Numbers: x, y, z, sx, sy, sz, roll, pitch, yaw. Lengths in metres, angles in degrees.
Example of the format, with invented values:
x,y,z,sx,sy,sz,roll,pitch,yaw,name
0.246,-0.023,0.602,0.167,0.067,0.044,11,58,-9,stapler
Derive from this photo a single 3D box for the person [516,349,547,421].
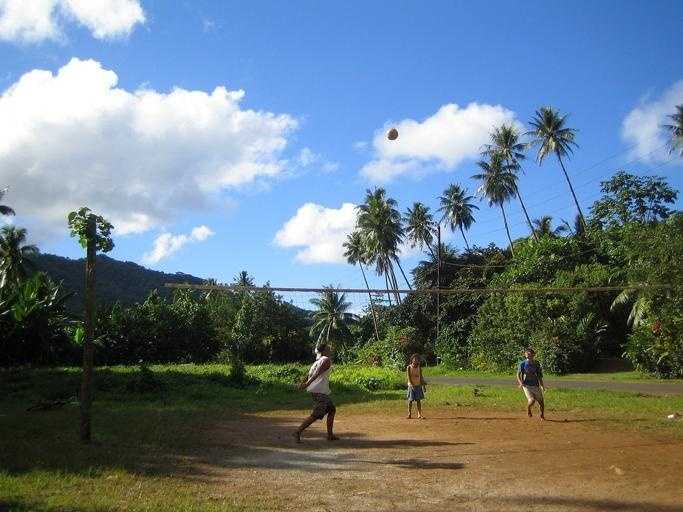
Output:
x,y,z,sx,sy,sz,roll,pitch,yaw,name
5.123,3.468,14.791,0.611,1.874,0.941,-7,-11,17,person
